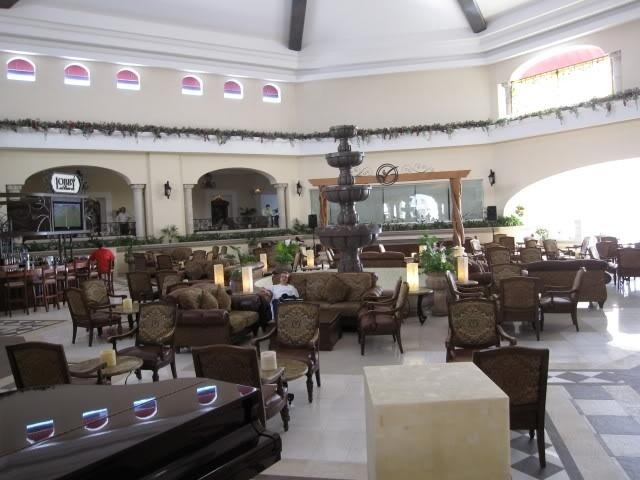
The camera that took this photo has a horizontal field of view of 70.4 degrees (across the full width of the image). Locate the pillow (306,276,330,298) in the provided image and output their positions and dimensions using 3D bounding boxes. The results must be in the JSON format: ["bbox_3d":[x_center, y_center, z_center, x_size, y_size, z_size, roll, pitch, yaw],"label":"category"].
[{"bbox_3d":[-0.073,0.877,8.258,0.371,0.387,0.117,-1,-16,24],"label":"pillow"}]

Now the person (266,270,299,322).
[{"bbox_3d":[-0.651,0.939,7.674,0.592,0.709,1.009,8,10,0],"label":"person"}]

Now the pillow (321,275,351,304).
[{"bbox_3d":[0.293,0.879,8.134,0.503,0.401,0.264,-3,1,-3],"label":"pillow"}]

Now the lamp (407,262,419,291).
[{"bbox_3d":[1.651,0.662,8.062,0.179,0.356,0.222,-3,1,5],"label":"lamp"}]

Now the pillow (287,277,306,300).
[{"bbox_3d":[-0.396,0.886,8.323,0.346,0.351,0.130,-1,-10,20],"label":"pillow"}]

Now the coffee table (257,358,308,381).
[{"bbox_3d":[-0.338,1.367,4.792,0.322,0.115,0.320,-1,3,-24],"label":"coffee table"}]

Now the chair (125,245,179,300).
[{"bbox_3d":[-4.332,0.831,11.602,1.001,1.812,1.204,2,6,10],"label":"chair"}]

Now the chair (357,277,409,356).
[{"bbox_3d":[0.873,1.113,7.263,0.927,1.329,0.943,1,-2,3],"label":"chair"}]

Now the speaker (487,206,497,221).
[{"bbox_3d":[6.411,-0.953,16.945,0.352,0.595,0.439,-3,1,17],"label":"speaker"}]

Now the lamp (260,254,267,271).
[{"bbox_3d":[-1.375,0.566,10.876,0.163,0.392,0.650,-3,1,-11],"label":"lamp"}]

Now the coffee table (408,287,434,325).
[{"bbox_3d":[1.866,1.170,8.325,0.599,0.559,0.637,-2,4,-1],"label":"coffee table"}]
